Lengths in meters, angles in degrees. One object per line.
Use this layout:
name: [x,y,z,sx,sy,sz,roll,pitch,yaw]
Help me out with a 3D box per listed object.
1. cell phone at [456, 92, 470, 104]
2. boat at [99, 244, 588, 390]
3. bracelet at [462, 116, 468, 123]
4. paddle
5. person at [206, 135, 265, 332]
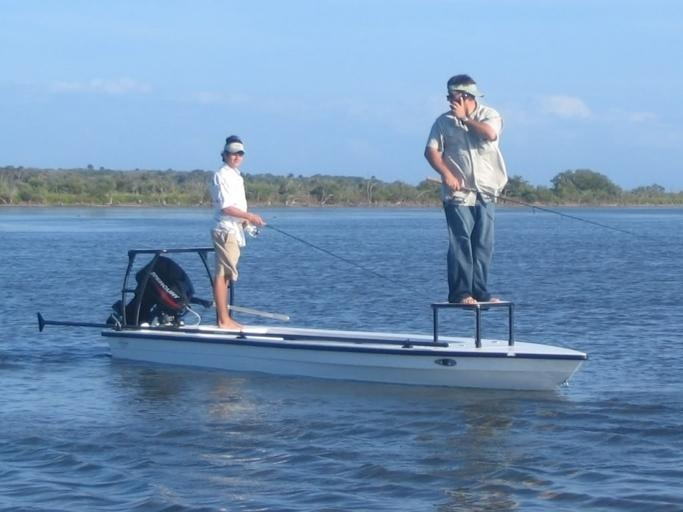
cell phone: [1.631,-2.093,16.802,0.143,0.131,0.089,35,20,4]
boat: [0.003,1.124,18.253,6.791,1.211,1.460,4,6,9]
bracelet: [1.648,-1.788,16.717,0.083,0.066,0.019,10,2,-19]
paddle: [-1.746,1.028,18.778,6.183,0.334,0.756,0,-7,13]
person: [-1.534,-0.352,18.852,1.017,2.735,1.159,2,0,5]
